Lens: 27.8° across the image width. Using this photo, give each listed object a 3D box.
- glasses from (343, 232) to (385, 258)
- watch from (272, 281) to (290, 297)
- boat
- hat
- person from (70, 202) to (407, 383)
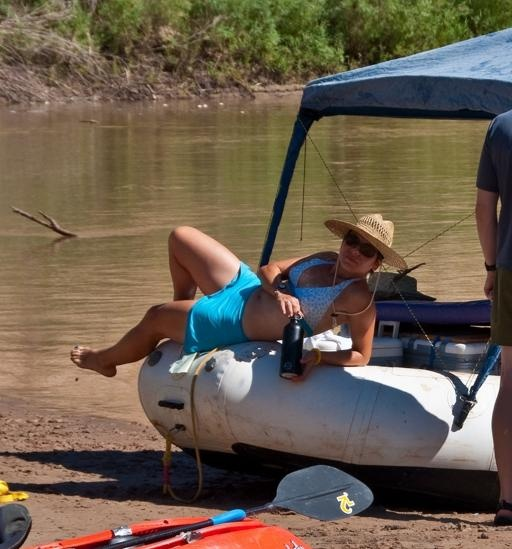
[{"bbox_3d":[0.487,-0.134,4.825,0.157,0.121,0.077,3,8,3],"label":"glasses"},{"bbox_3d":[0.116,0.070,4.943,0.114,0.078,0.063,-3,23,-17],"label":"watch"},{"bbox_3d":[0.288,0.621,4.766,1.249,0.325,0.898,9,-5,2],"label":"boat"},{"bbox_3d":[0.548,-0.118,4.898,0.314,0.121,0.339,17,-16,33],"label":"hat"},{"bbox_3d":[-0.080,0.100,4.988,1.359,0.579,0.785,3,5,12],"label":"person"}]
